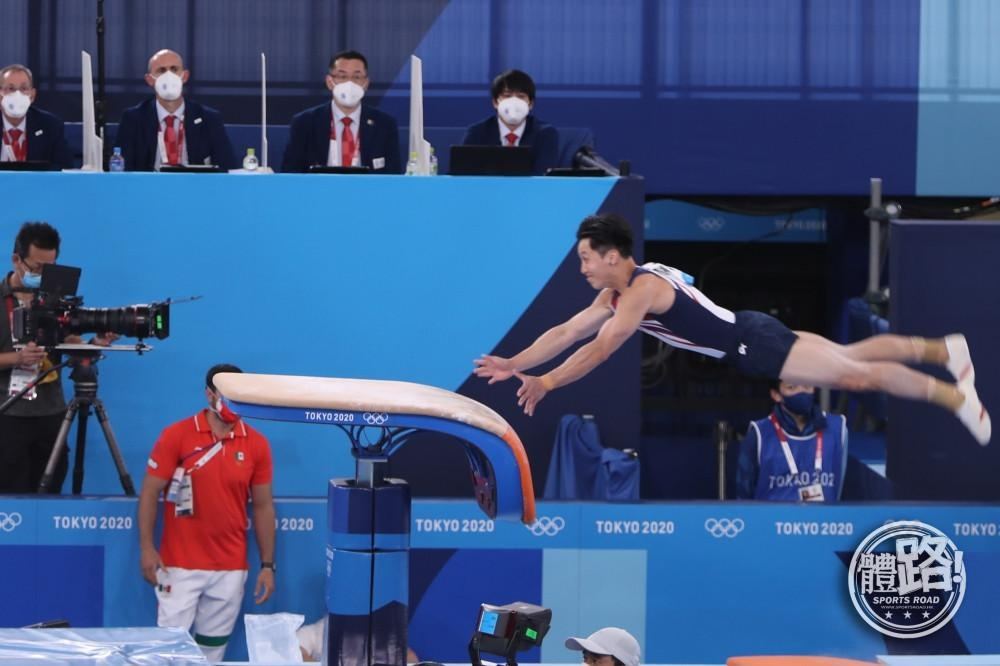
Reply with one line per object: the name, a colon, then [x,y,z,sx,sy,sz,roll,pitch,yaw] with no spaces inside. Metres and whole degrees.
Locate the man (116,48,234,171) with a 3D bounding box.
man: [-2.702,-1.792,17.148,0.964,1.025,0.608,1,-4,-12]

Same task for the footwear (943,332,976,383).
footwear: [3.472,0.223,15.750,0.171,0.475,0.156,-17,7,8]

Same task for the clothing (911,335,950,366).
clothing: [3.267,0.158,15.792,0.243,0.209,0.201,-1,-1,3]

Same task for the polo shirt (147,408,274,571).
polo shirt: [-2.139,1.221,15.166,1.123,1.445,0.656,2,-2,-14]

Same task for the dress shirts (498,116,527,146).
dress shirts: [0.081,-1.673,17.301,0.201,0.242,0.282,2,24,3]

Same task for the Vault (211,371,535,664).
Vault: [-0.851,1.043,12.202,2.255,2.193,1.284,0,2,-11]

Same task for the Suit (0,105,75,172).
Suit: [-3.901,-1.603,17.243,0.695,0.593,0.375,-1,-2,-12]

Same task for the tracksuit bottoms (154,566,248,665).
tracksuit bottoms: [-2.170,2.032,14.705,0.603,1.142,0.349,2,3,-30]

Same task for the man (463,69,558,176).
man: [0.158,-1.737,17.165,0.776,0.885,0.855,2,-4,-19]
